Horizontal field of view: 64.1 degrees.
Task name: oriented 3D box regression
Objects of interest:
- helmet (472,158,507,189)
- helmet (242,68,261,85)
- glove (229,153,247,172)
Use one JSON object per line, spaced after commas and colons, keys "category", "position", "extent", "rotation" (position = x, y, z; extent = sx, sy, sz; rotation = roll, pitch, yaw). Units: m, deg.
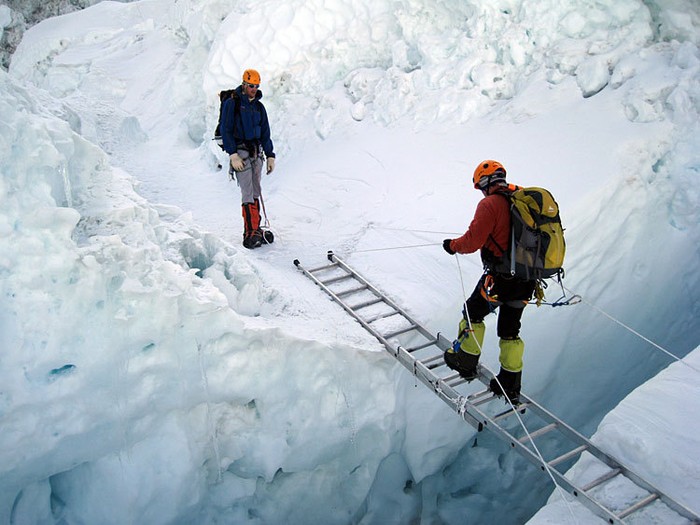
{"category": "helmet", "position": [1.376, -0.890, 5.637], "extent": [0.323, 0.304, 0.252], "rotation": [-24, -5, 28]}
{"category": "helmet", "position": [-1.321, -2.506, 7.480], "extent": [0.206, 0.189, 0.516], "rotation": [-2, 28, -5]}
{"category": "glove", "position": [-1.509, -1.361, 7.558], "extent": [0.179, 0.314, 0.160], "rotation": [-15, 5, -10]}
